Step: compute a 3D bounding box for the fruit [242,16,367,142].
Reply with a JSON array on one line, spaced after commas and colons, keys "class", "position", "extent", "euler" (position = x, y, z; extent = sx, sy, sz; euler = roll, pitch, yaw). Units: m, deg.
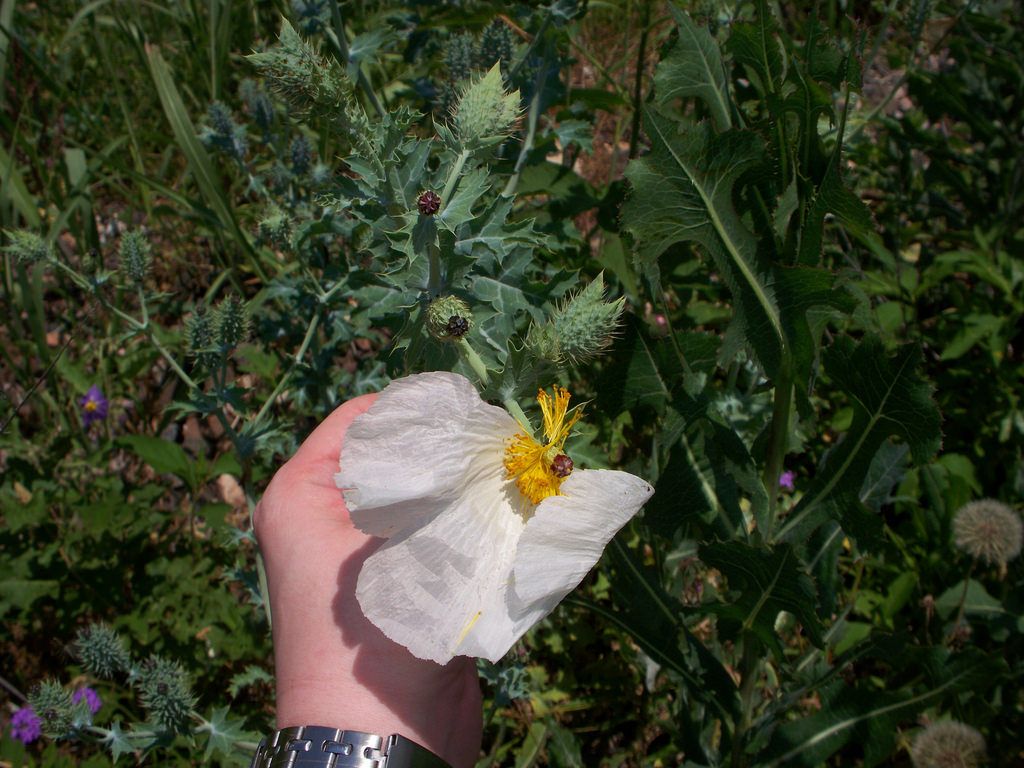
[{"class": "fruit", "position": [-0.511, -0.765, 2.749], "extent": [0.365, 0.197, 0.227], "euler": [34, 32, -19]}]

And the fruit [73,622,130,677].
[{"class": "fruit", "position": [-1.262, 0.834, 3.176], "extent": [0.146, 0.196, 0.187], "euler": [3, 9, -31]}]

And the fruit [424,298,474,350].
[{"class": "fruit", "position": [-0.158, -0.158, 2.580], "extent": [0.101, 0.107, 0.104], "euler": [-32, 20, -14]}]

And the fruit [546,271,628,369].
[{"class": "fruit", "position": [0.187, -0.138, 2.603], "extent": [0.141, 0.258, 0.112], "euler": [21, -21, 34]}]

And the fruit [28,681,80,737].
[{"class": "fruit", "position": [-1.328, 0.949, 3.018], "extent": [0.125, 0.174, 0.142], "euler": [6, 7, -7]}]

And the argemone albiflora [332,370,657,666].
[{"class": "argemone albiflora", "position": [0.008, 0.288, 2.485], "extent": [0.345, 0.794, 0.802], "euler": [33, 49, 14]}]

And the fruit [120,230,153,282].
[{"class": "fruit", "position": [-1.170, -0.399, 3.215], "extent": [0.084, 0.166, 0.214], "euler": [4, 8, -22]}]

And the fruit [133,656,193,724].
[{"class": "fruit", "position": [-1.018, 0.898, 3.097], "extent": [0.172, 0.218, 0.214], "euler": [1, 49, -13]}]

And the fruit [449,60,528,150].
[{"class": "fruit", "position": [-0.070, -0.761, 2.768], "extent": [0.182, 0.232, 0.115], "euler": [-1, 17, -5]}]

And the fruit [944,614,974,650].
[{"class": "fruit", "position": [1.361, 0.742, 3.142], "extent": [0.072, 0.106, 0.204], "euler": [11, 8, 26]}]
